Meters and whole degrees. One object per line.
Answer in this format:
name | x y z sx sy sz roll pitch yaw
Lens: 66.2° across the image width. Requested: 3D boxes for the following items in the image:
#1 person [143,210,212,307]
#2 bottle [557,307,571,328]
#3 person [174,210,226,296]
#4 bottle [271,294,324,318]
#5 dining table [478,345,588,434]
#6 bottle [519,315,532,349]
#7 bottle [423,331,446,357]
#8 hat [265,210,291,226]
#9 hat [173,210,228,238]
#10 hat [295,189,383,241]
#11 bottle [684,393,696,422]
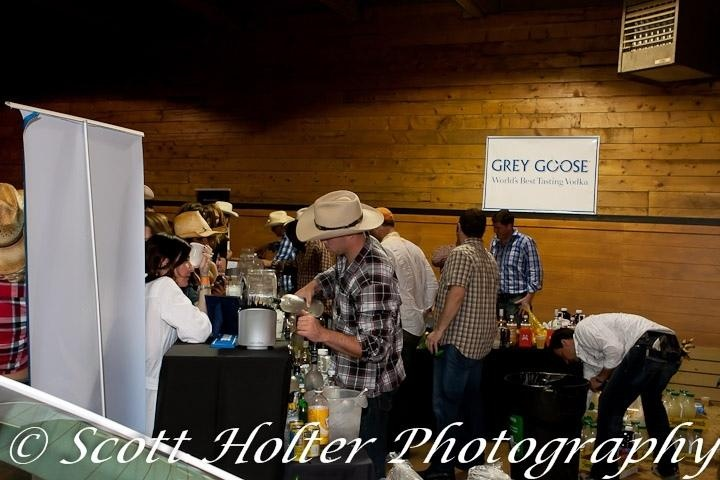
person | -1.385 0.099 4.444 0.532 0.662 0.707 16 3 -2
bottle | 2.216 0.838 6.012 0.119 0.201 0.115 -2 8 0
person | -1.289 0.163 4.402 0.321 0.871 0.340 15 33 15
bottle | -0.316 0.353 3.039 0.214 0.135 0.323 3 3 -1
dining table | 1.458 1.231 4.623 0.848 0.764 0.450 11 4 5
bottle | 1.573 0.895 5.245 0.137 0.186 0.204 4 3 22
bottle | 0.618 0.853 4.572 0.164 0.219 0.084 16 21 31
hat | -1.034 -0.261 6.947 0.297 0.111 0.265 -15 -2 43
hat | -1.257 -0.115 4.184 0.293 0.109 0.204 -4 -2 4
hat | -0.117 -0.142 3.160 0.474 0.291 0.320 3 3 -7
bottle | 3.189 1.591 5.328 0.157 0.236 0.084 2 3 -37
